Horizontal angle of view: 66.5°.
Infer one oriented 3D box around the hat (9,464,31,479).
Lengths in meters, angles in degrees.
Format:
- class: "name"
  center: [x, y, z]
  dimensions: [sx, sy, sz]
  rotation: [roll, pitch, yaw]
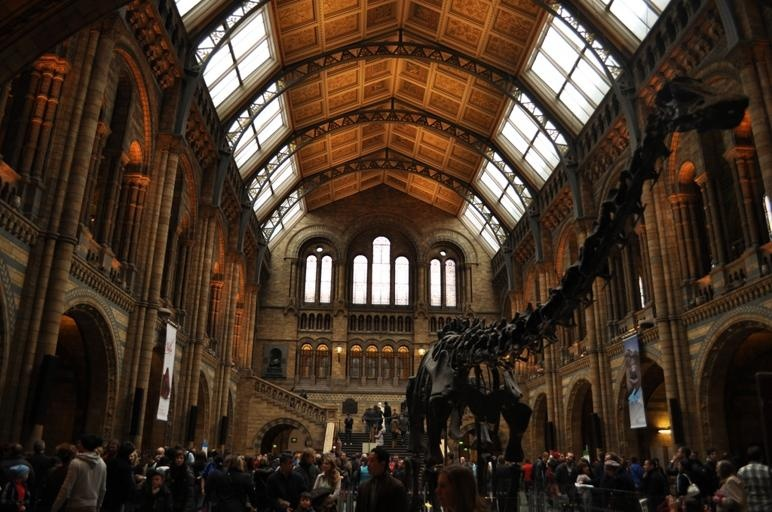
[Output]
- class: "hat"
  center: [-6.562, 3.882, 10.633]
  dimensions: [0.261, 0.213, 0.283]
  rotation: [3, -9, 0]
